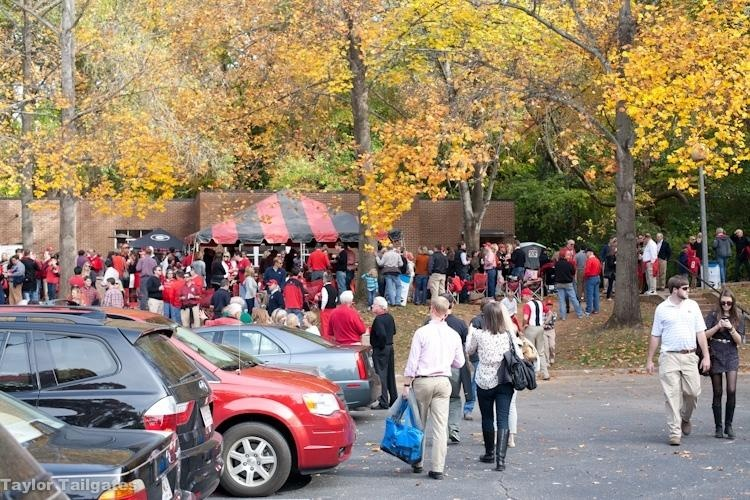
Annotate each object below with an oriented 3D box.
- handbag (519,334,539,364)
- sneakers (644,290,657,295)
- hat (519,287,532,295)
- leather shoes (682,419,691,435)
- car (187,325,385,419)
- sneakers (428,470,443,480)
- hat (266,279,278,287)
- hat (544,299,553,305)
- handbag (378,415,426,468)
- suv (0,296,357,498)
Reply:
[{"bbox_3d":[3.565,2.257,25.551,0.357,0.632,0.649,-24,8,-4],"label":"handbag"},{"bbox_3d":[10.102,1.514,40.452,0.353,0.159,0.154,1,-2,21],"label":"sneakers"},{"bbox_3d":[4.150,1.131,30.486,0.266,0.135,0.184,11,19,21],"label":"hat"},{"bbox_3d":[7.093,3.956,25.075,0.130,0.352,0.143,3,-4,12],"label":"leather shoes"},{"bbox_3d":[-2.055,2.724,25.708,4.148,1.334,1.860,3,-3,4],"label":"car"},{"bbox_3d":[1.284,4.610,23.002,0.129,0.134,0.310,-1,4,-29],"label":"sneakers"},{"bbox_3d":[-3.018,0.943,32.696,0.269,0.126,0.192,9,-8,-34],"label":"hat"},{"bbox_3d":[5.654,1.654,35.980,0.188,0.193,0.305,0,-13,4],"label":"hat"},{"bbox_3d":[0.600,3.991,23.242,0.846,1.125,0.371,17,18,14],"label":"handbag"},{"bbox_3d":[-3.911,2.758,23.102,7.491,2.822,3.326,-1,0,-6],"label":"suv"}]
